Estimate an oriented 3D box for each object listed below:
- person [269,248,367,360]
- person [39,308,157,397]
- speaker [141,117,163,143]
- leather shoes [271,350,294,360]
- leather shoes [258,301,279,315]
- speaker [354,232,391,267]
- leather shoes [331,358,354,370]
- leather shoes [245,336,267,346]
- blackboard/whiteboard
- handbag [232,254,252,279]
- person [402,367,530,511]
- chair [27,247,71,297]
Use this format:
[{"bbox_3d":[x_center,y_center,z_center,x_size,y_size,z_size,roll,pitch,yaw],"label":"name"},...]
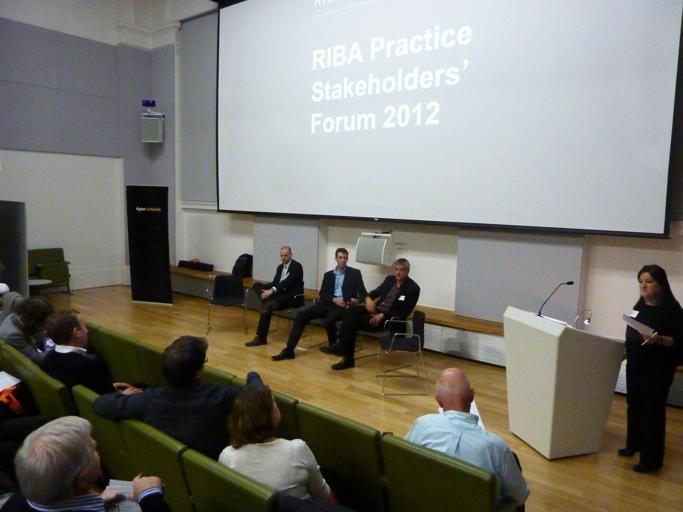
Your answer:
[{"bbox_3d":[-0.289,0.583,6.219,1.265,1.502,0.820,5,-7,-34],"label":"person"},{"bbox_3d":[-2.048,0.813,4.013,0.383,1.034,0.578,6,29,18],"label":"person"},{"bbox_3d":[-3.907,-2.626,9.849,0.381,0.416,0.213,8,14,21],"label":"speaker"},{"bbox_3d":[-0.723,1.221,6.031,0.315,0.147,0.112,1,2,-16],"label":"leather shoes"},{"bbox_3d":[-1.082,0.713,6.660,0.355,0.131,0.258,-9,-24,43],"label":"leather shoes"},{"bbox_3d":[0.486,-0.137,6.830,0.521,0.572,0.406,3,0,30],"label":"speaker"},{"bbox_3d":[0.019,1.291,5.802,0.265,0.117,0.112,1,-2,-30],"label":"leather shoes"},{"bbox_3d":[-1.151,1.147,6.498,0.310,0.137,0.106,3,-4,-32],"label":"leather shoes"},{"bbox_3d":[-2.803,-2.822,9.357,1.065,3.589,0.063,6,7,36],"label":"blackboard/whiteboard"},{"bbox_3d":[-1.765,0.186,8.541,0.188,0.379,0.351,15,-8,-38],"label":"handbag"},{"bbox_3d":[0.711,1.059,2.721,0.664,0.746,0.308,6,7,33],"label":"person"},{"bbox_3d":[-5.404,0.280,8.882,0.431,0.842,0.599,0,6,41],"label":"chair"}]
